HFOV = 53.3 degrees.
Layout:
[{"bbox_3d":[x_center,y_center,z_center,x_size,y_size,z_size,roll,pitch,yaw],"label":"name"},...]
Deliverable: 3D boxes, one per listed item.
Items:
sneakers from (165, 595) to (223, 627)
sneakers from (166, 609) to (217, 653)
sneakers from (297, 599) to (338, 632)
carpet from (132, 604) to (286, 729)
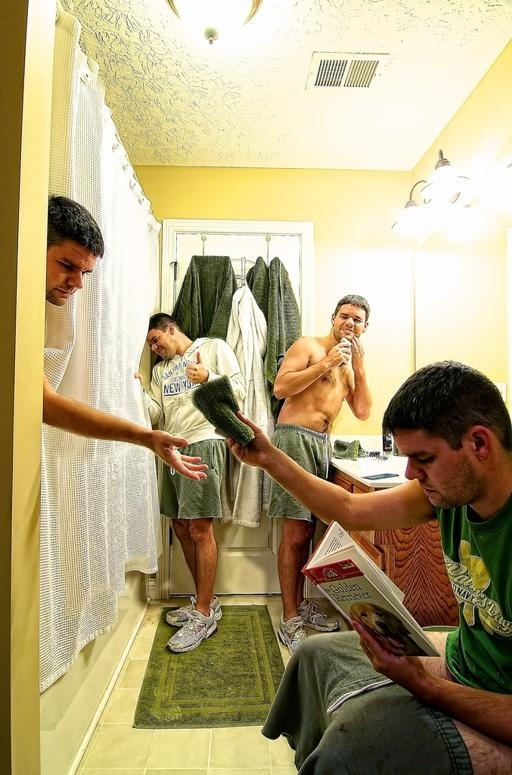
[{"bbox_3d":[-0.258,0.980,2.255,0.263,0.129,0.095,11,-12,-35],"label":"sneakers"},{"bbox_3d":[-0.252,0.990,2.050,0.069,0.100,0.211,0,-10,24],"label":"sneakers"},{"bbox_3d":[0.264,0.988,2.194,0.165,0.082,0.071,-1,-6,35],"label":"sneakers"},{"bbox_3d":[-0.183,1.069,1.886,0.470,1.087,0.036,7,44,-5],"label":"carpet"}]
